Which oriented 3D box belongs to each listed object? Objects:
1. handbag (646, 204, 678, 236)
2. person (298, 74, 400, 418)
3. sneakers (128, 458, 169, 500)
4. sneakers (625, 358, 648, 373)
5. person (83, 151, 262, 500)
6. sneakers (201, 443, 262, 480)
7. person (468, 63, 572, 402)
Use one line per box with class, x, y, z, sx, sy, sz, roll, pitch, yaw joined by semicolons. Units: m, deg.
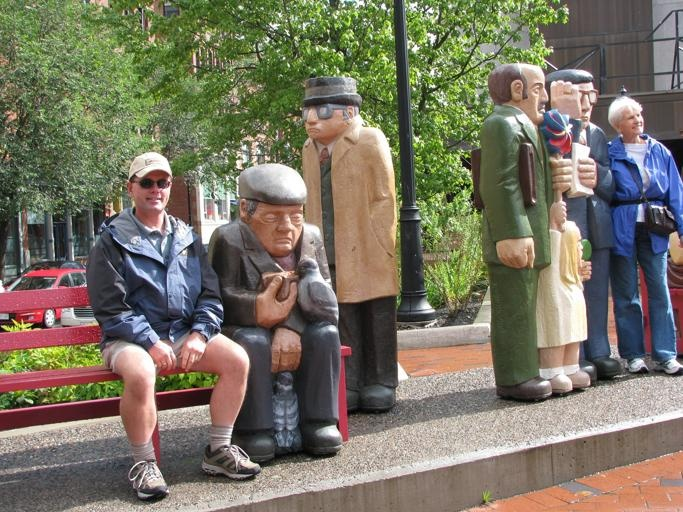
handbag;2.767;-0.312;6.050;0.202;0.197;0.113;18;-31;-33
person;0.090;-0.133;5.643;0.775;2.523;0.806;-2;-1;-39
sneakers;-1.138;1.286;4.098;0.193;0.196;0.387;3;-3;-31
sneakers;2.614;0.965;6.193;0.086;0.084;0.205;-1;-5;-3
person;-1.070;0.350;4.325;0.913;2.002;0.782;-5;5;-22
sneakers;-0.676;1.245;4.307;0.340;0.163;0.169;3;-3;17
person;1.412;-0.204;5.555;0.595;2.643;0.498;-2;5;11
